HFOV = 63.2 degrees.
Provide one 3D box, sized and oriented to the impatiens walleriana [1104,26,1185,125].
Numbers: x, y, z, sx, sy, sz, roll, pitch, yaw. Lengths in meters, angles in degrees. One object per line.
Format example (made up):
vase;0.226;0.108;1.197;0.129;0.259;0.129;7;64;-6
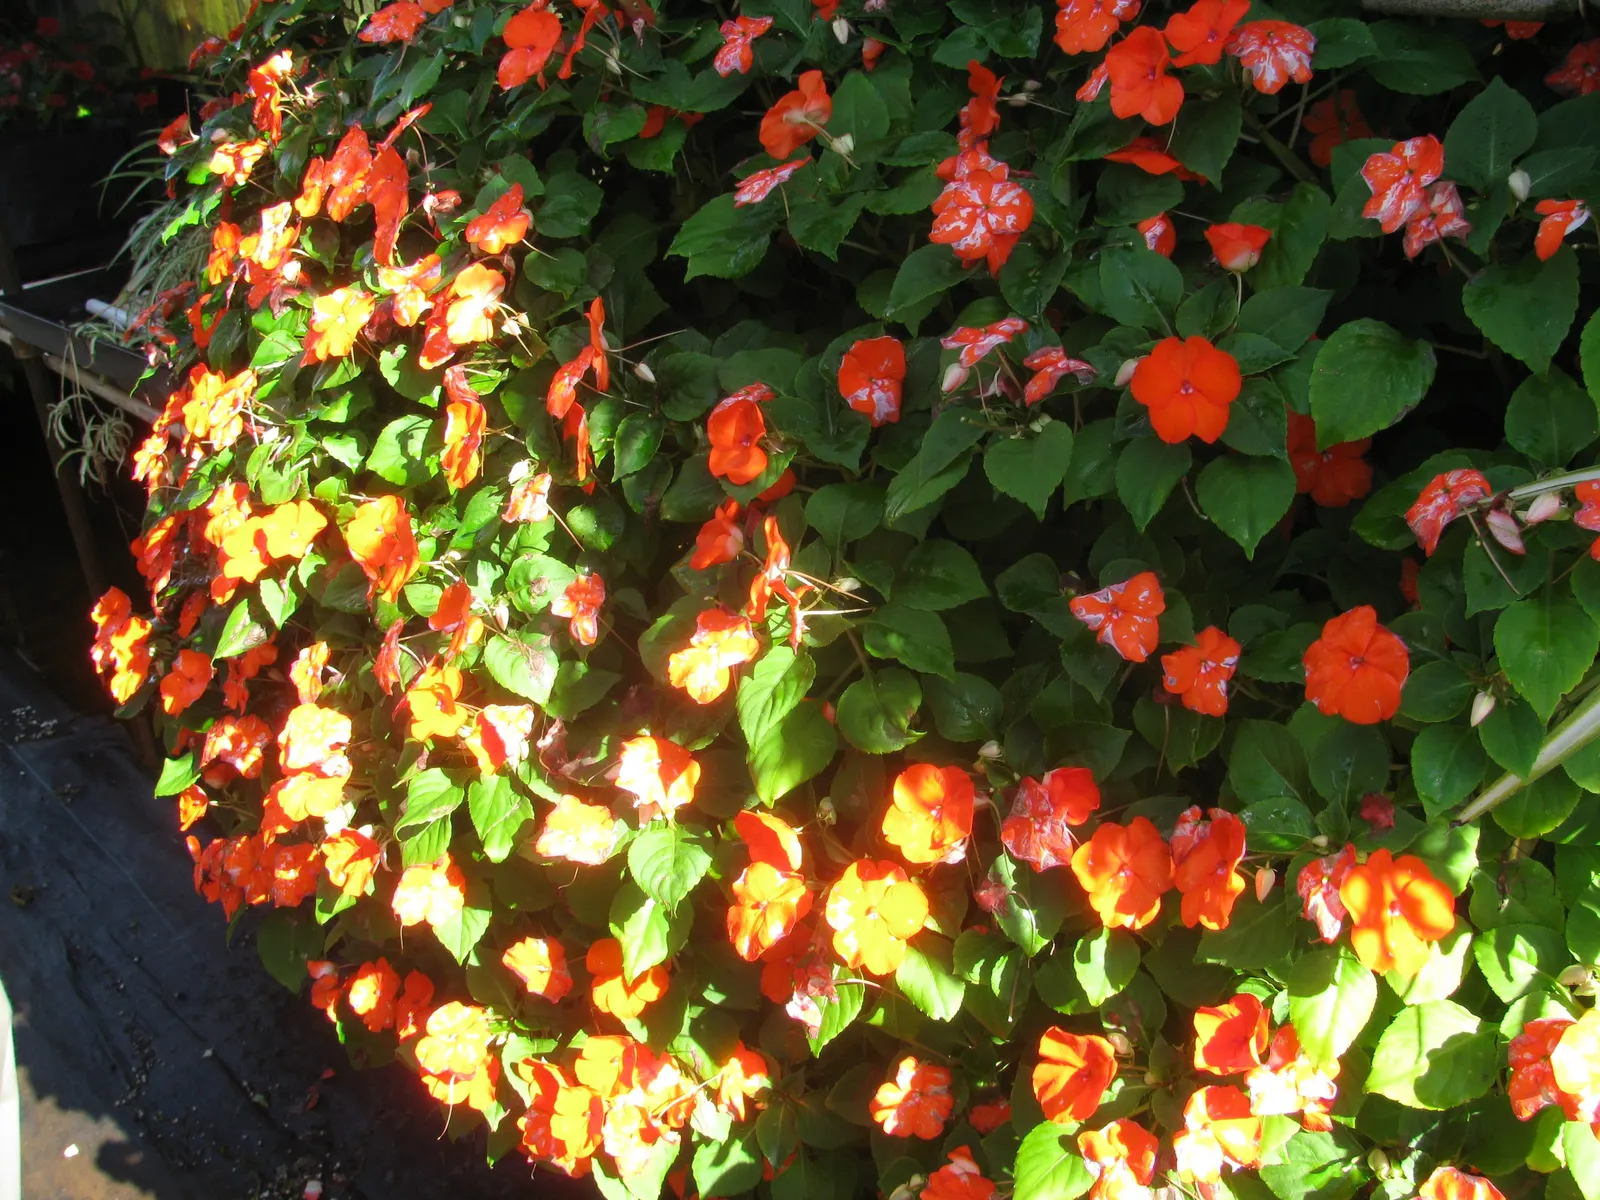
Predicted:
impatiens walleriana;0.403;-0.604;1.534;0.085;0.112;0.085;-2;0;19

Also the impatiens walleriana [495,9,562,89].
impatiens walleriana;-0.371;-0.747;1.789;0.081;0.109;0.034;24;12;16

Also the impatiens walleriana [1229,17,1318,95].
impatiens walleriana;0.546;-0.624;1.504;0.103;0.088;0.055;-2;0;11
